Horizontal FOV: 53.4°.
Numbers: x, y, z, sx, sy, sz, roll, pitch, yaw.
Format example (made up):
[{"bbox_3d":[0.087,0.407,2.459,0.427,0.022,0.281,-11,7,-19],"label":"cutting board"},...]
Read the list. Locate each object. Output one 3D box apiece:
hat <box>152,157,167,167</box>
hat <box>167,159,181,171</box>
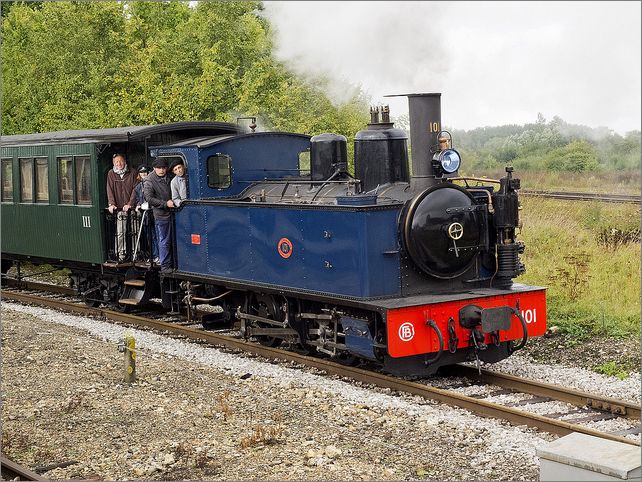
[{"bbox_3d":[-3.079,-1.497,12.144,0.301,0.137,0.390,-1,7,-19],"label":"hat"},{"bbox_3d":[-2.741,-1.449,11.887,0.262,0.067,0.235,-10,-15,-38],"label":"hat"}]
